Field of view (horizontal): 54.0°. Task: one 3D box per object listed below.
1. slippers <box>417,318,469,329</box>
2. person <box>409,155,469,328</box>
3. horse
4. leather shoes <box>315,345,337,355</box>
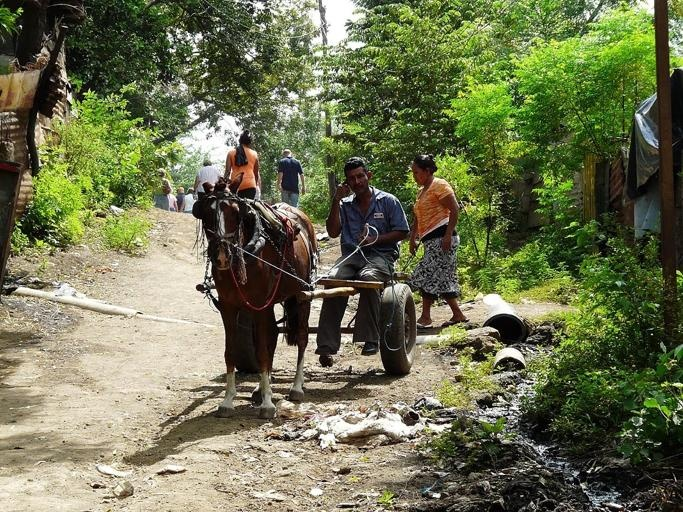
[{"bbox_3d":[1.636,1.095,10.823,0.809,0.202,0.283,0,-6,-9],"label":"slippers"},{"bbox_3d":[1.482,-0.245,10.565,0.807,2.622,0.989,3,-3,10],"label":"person"},{"bbox_3d":[-0.981,0.527,8.244,0.931,2.605,3.750,1,-3,8],"label":"horse"},{"bbox_3d":[-0.187,1.203,8.584,0.197,0.075,0.140,3,-4,-14],"label":"leather shoes"}]
